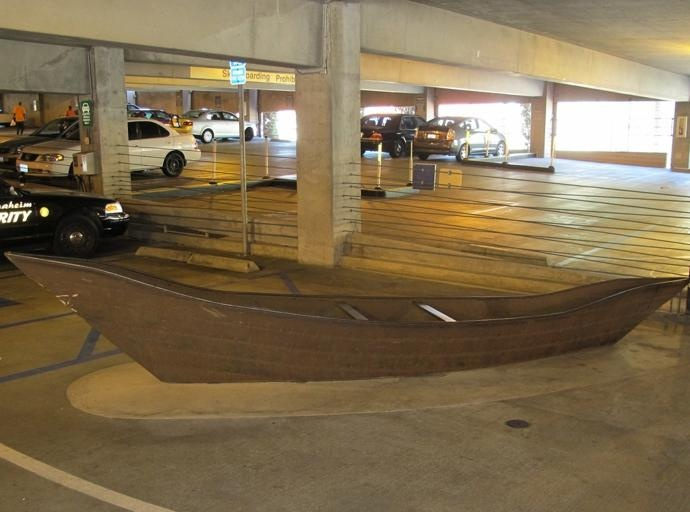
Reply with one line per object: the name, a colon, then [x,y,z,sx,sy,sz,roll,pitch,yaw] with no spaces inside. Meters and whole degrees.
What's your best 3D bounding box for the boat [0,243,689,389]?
boat: [0.160,0.736,6.283,7.713,0.929,1.466,1,11,-25]
